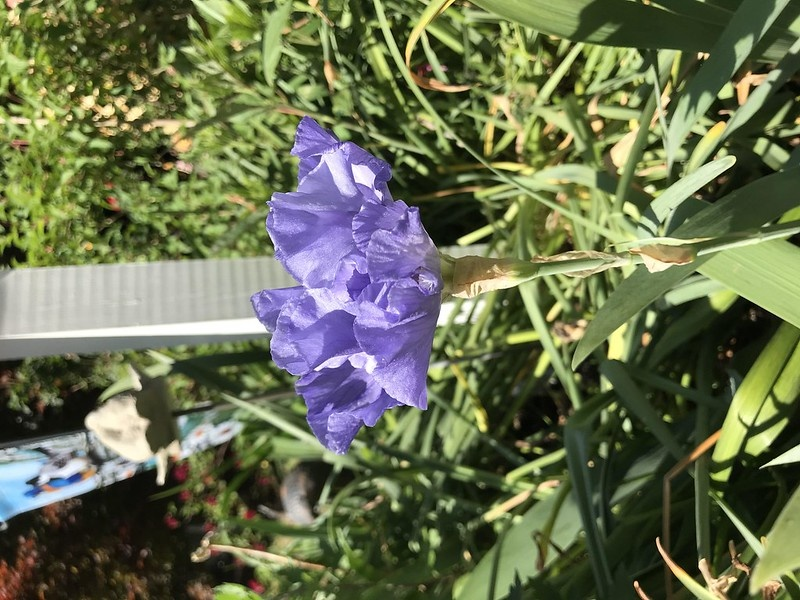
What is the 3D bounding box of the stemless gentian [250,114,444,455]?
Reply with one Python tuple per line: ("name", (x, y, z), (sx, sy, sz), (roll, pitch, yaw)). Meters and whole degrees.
("stemless gentian", (-0.069, -0.024, 0.760), (0.162, 0.334, 0.342), (-3, 55, -19))
